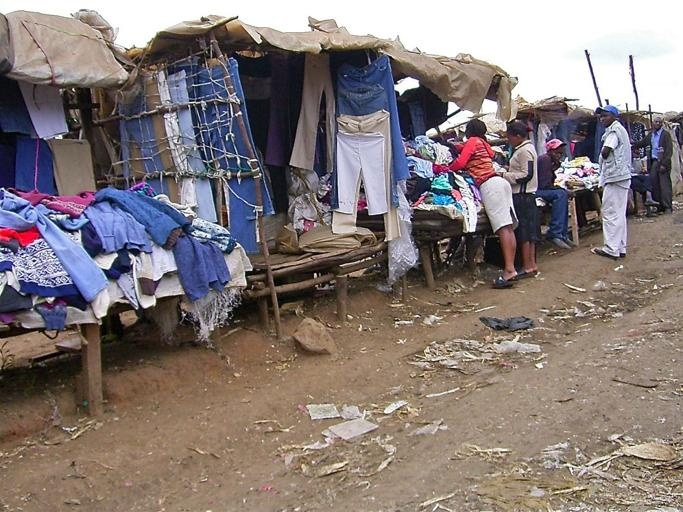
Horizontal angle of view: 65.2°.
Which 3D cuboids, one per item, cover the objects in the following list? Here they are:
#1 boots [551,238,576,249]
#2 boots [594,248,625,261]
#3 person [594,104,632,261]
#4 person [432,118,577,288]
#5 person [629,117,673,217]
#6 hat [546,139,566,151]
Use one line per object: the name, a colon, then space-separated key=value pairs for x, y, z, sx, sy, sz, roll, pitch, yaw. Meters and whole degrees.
boots: x=3.930 y=-0.213 z=9.344 sx=0.162 sy=0.170 sz=0.469 roll=-30 pitch=29 yaw=-34
boots: x=4.277 y=-0.022 z=8.668 sx=0.465 sy=0.171 sz=0.169 roll=7 pitch=11 yaw=45
person: x=4.243 y=-1.150 z=8.436 sx=0.546 sy=2.391 sz=0.821 roll=-2 pitch=12 yaw=25
person: x=2.313 y=-0.843 z=8.167 sx=1.115 sy=2.475 sz=1.067 roll=-17 pitch=15 yaw=-42
person: x=7.403 y=-2.138 z=12.497 sx=0.465 sy=2.170 sz=1.410 roll=-1 pitch=12 yaw=29
hat: x=3.836 y=-1.956 z=9.347 sx=0.458 sy=0.195 sz=0.289 roll=-5 pitch=15 yaw=-5
